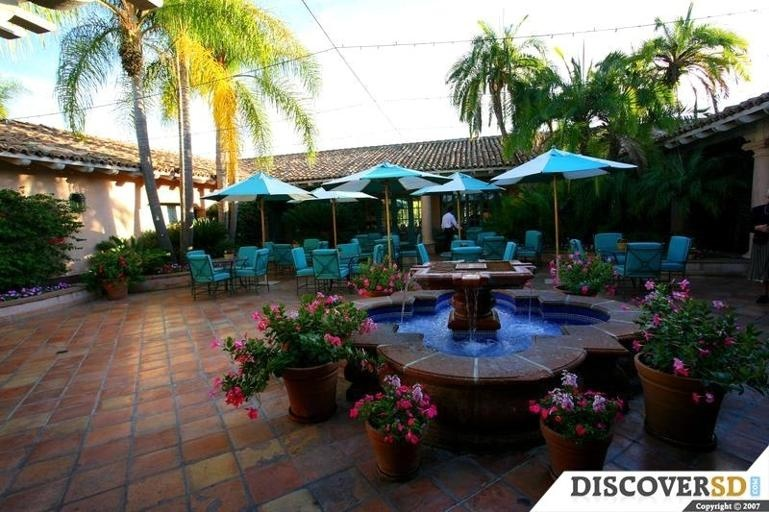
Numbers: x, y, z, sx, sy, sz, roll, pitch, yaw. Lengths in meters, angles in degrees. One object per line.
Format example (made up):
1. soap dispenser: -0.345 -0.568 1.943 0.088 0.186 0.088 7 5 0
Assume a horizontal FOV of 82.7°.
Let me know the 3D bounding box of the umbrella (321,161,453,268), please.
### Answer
1. umbrella: -0.204 -1.225 9.334 2.514 2.238 2.571 2 9 14

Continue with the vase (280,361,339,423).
1. vase: -0.859 1.598 5.331 0.706 0.657 0.729 -2 4 36

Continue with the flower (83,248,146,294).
1. flower: -6.557 0.384 10.694 0.924 0.870 0.917 -13 7 -20

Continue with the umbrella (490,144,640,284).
1. umbrella: 3.527 -0.909 8.988 2.611 2.563 2.782 -4 9 24

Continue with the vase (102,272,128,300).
1. vase: -6.376 0.705 10.521 0.593 0.473 0.603 -1 4 15

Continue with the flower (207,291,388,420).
1. flower: -1.077 1.130 5.670 1.643 1.190 1.579 -1 -5 -8

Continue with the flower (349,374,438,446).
1. flower: 0.151 1.597 4.574 0.724 0.526 0.687 -9 -15 23

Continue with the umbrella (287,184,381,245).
1. umbrella: -1.338 -0.963 11.975 2.043 1.791 2.007 -4 10 -24

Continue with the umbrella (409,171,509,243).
1. umbrella: 2.029 -1.476 11.340 2.231 1.505 2.216 0 5 -5

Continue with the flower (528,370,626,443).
1. flower: 1.899 1.523 4.440 0.857 0.678 0.799 -16 -9 31

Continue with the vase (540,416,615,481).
1. vase: 1.867 1.958 4.395 0.613 0.447 0.587 4 -12 -38

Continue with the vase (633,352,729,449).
1. vase: 3.204 1.547 4.796 0.890 0.789 0.911 -2 6 3

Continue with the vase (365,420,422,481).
1. vase: 0.146 1.979 4.596 0.631 0.483 0.614 -4 4 -24
